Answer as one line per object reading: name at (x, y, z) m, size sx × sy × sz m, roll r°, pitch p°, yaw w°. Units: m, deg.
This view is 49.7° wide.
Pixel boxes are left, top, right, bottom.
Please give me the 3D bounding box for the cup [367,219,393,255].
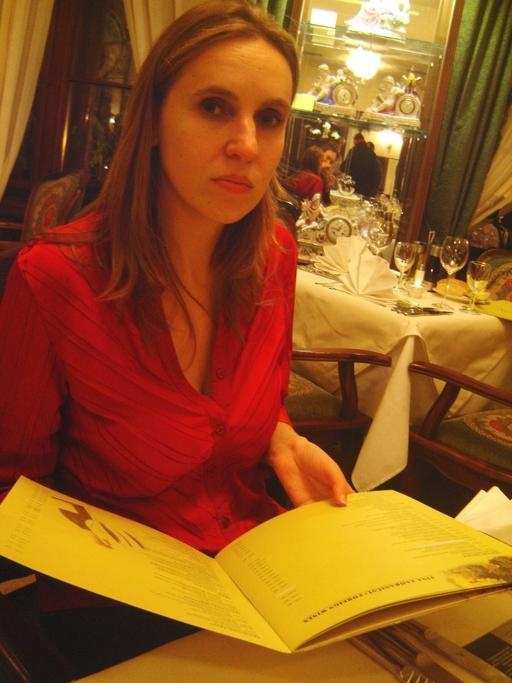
cup at (0.474, -0.403, 2.130) m, size 0.094 × 0.092 × 0.182 m, roll -11°, pitch 4°, yaw 13°
